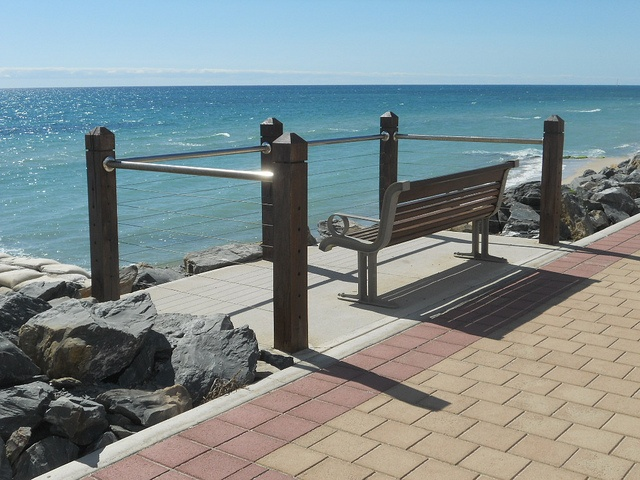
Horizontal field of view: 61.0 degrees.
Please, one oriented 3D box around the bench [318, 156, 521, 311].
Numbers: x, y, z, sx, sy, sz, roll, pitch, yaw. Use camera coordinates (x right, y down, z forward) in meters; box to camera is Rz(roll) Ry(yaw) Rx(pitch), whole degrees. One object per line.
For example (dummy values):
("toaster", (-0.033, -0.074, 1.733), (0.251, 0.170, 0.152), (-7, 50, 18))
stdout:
("bench", (1.046, -0.148, 5.364), (0.947, 1.142, 2.239), (7, 15, 40))
